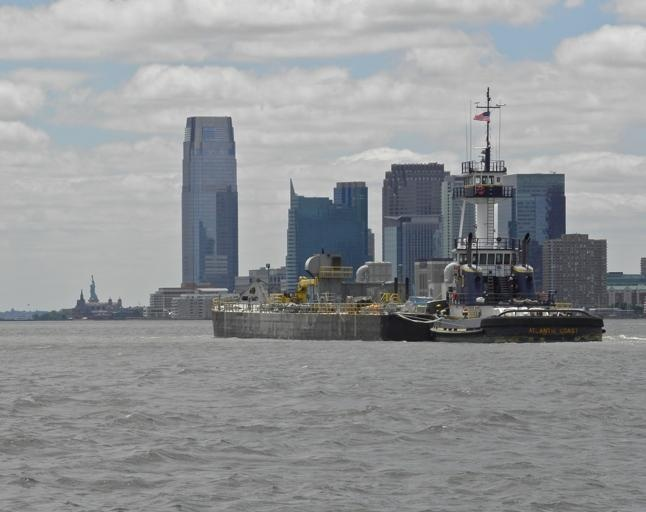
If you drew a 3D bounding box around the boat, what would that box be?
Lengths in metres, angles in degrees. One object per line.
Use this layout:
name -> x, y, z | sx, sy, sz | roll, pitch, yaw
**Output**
boat -> 12.274, -1.550, 125.162 | 8.488, 16.596, 20.737 | -1, 1, -9
